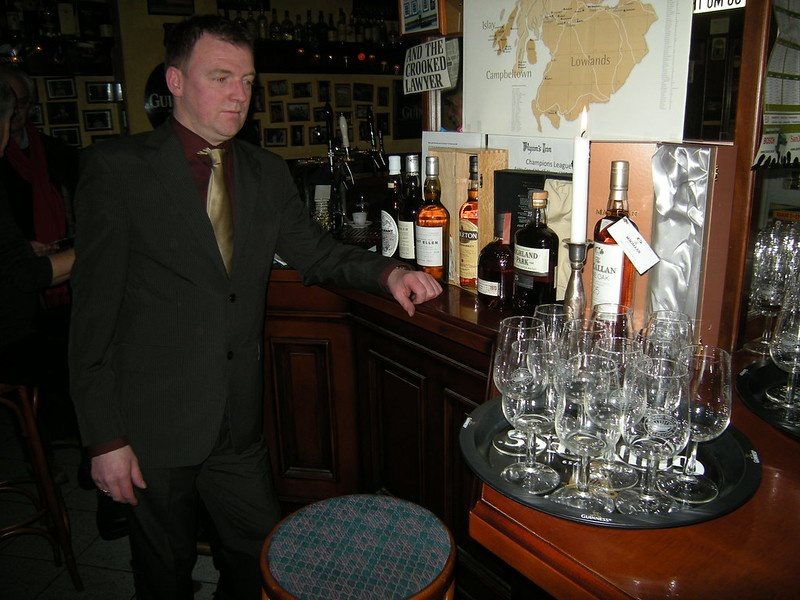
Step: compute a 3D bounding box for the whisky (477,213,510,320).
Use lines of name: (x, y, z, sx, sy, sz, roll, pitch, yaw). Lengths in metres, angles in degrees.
whisky: (0.308, -0.124, 1.890, 0.115, 0.295, 0.118, -4, 25, -14)

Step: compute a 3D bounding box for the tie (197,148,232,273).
tie: (-0.549, -0.278, 1.882, 0.108, 0.348, 0.024, 0, -3, -32)

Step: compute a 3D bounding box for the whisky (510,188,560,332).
whisky: (0.389, -0.144, 1.784, 0.099, 0.384, 0.144, -29, 45, -30)

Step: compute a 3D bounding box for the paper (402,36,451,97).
paper: (0.114, -0.928, 2.431, 0.039, 0.210, 0.277, -15, 16, -35)
